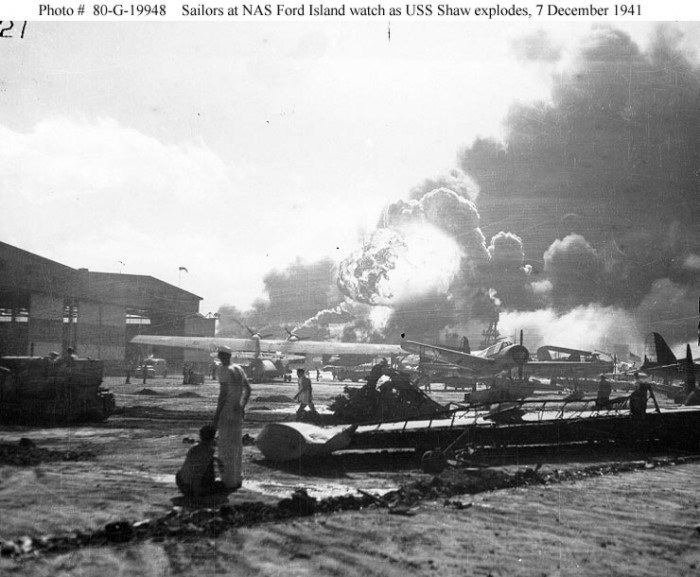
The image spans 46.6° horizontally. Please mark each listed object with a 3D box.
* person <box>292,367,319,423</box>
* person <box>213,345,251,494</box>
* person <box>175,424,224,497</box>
[{"bbox_3d":[-0.994,2.302,18.614,0.682,1.138,0.471,1,22,5],"label":"person"},{"bbox_3d":[-1.932,2.109,13.366,0.547,2.299,1.067,3,-7,-9],"label":"person"},{"bbox_3d":[-2.411,2.793,13.356,0.774,1.221,0.835,6,-5,-23],"label":"person"}]
